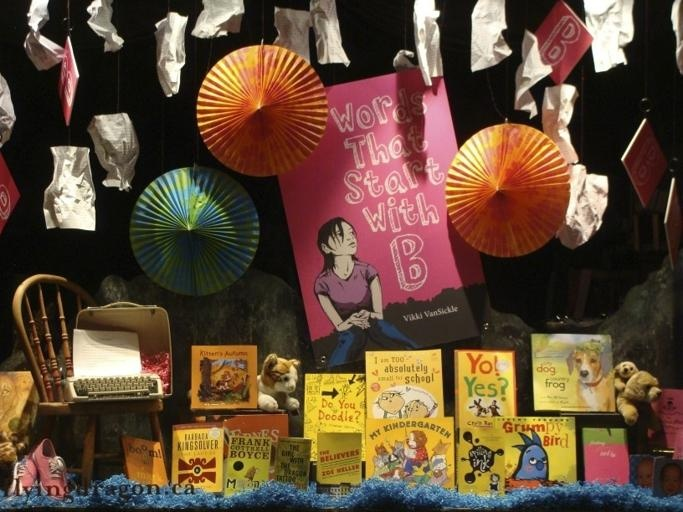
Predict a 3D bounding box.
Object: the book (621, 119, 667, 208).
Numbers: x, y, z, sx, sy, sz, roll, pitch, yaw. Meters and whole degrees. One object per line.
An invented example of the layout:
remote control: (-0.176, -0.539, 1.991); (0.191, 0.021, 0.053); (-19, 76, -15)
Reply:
book: (1.672, -0.505, 4.883); (0.034, 0.346, 0.337); (5, -38, 47)

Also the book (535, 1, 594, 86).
book: (1.167, -1.146, 4.617); (0.185, 0.421, 0.250); (0, -1, -30)

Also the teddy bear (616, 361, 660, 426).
teddy bear: (1.607, 0.728, 4.781); (0.218, 0.344, 0.176); (0, -1, -4)

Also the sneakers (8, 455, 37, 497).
sneakers: (-1.618, 1.130, 4.457); (0.080, 0.274, 0.099); (-2, -14, 5)

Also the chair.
chair: (-1.334, 0.735, 4.718); (0.735, 1.282, 0.845); (-4, -7, 17)
